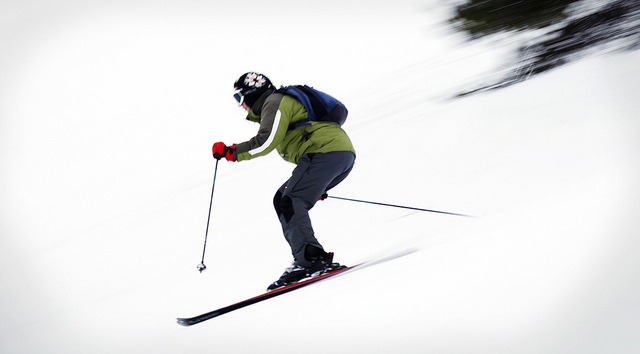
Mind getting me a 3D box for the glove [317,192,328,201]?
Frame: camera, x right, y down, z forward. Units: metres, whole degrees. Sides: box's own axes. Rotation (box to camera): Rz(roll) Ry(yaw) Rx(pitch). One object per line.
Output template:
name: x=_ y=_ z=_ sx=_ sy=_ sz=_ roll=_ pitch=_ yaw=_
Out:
glove: x=0.050 y=0.367 z=12.994 sx=0.145 sy=0.041 sz=0.134 roll=-8 pitch=-31 yaw=-35
